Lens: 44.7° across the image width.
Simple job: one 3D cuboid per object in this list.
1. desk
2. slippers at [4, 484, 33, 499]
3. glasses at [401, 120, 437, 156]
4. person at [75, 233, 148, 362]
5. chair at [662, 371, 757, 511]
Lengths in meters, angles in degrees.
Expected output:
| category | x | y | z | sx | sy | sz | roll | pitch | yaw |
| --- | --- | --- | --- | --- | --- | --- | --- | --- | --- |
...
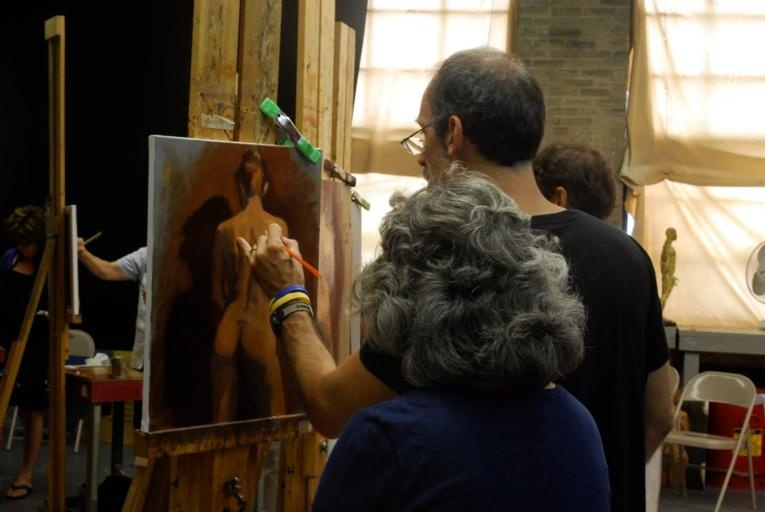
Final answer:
| category | x | y | z | sx | sy | sz | roll | pitch | yaw |
| --- | --- | --- | --- | --- | --- | --- | --- | --- | --- |
| desk | -2.518 | 1.571 | 8.291 | 0.606 | 1.291 | 1.158 | 1 | 4 | -20 |
| slippers | -3.369 | 2.165 | 8.582 | 0.240 | 0.118 | 0.136 | 1 | 4 | -24 |
| glasses | 0.215 | -0.708 | 5.810 | 0.189 | 0.060 | 0.209 | -38 | 19 | 34 |
| person | -2.679 | 0.552 | 9.255 | 0.772 | 0.499 | 2.337 | -1 | -39 | -18 |
| chair | 3.154 | 1.742 | 8.896 | 0.880 | 1.267 | 1.147 | 4 | 4 | 18 |
